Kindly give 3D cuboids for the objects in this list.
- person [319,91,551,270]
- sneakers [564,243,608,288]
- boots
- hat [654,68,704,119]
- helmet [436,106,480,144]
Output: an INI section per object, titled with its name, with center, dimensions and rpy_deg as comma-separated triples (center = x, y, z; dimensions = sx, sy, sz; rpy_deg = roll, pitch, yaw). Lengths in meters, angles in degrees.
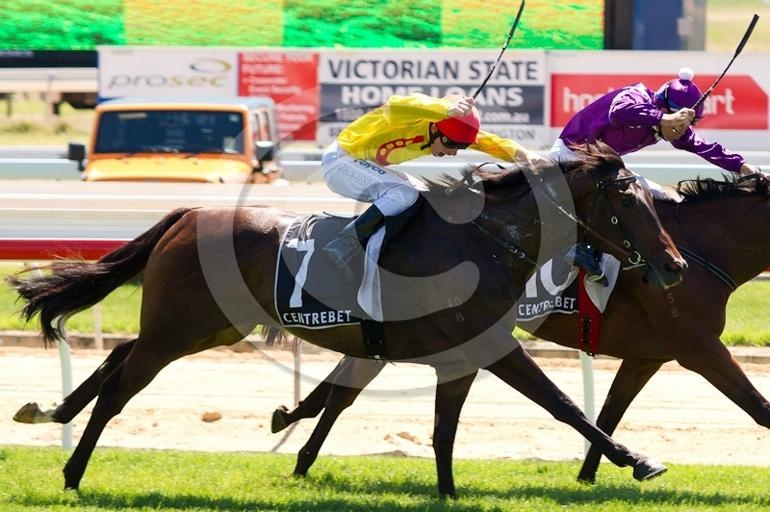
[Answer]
[person]
center = 0.225, -0.582, 8.541
dimensions = 1.499, 1.026, 0.991
rpy_deg = 4, -2, 31
[sneakers]
center = 1.381, 0.011, 8.516
dimensions = 0.143, 0.184, 0.477
rpy_deg = 8, -14, 47
[boots]
center = -0.201, -0.107, 8.406
dimensions = 0.502, 0.178, 0.345
rpy_deg = -28, -5, -2
[hat]
center = 2.186, -1.208, 9.031
dimensions = 0.390, 0.307, 0.284
rpy_deg = 9, 13, 16
[helmet]
center = 0.546, -0.905, 8.437
dimensions = 0.335, 0.272, 0.181
rpy_deg = -5, 16, -23
